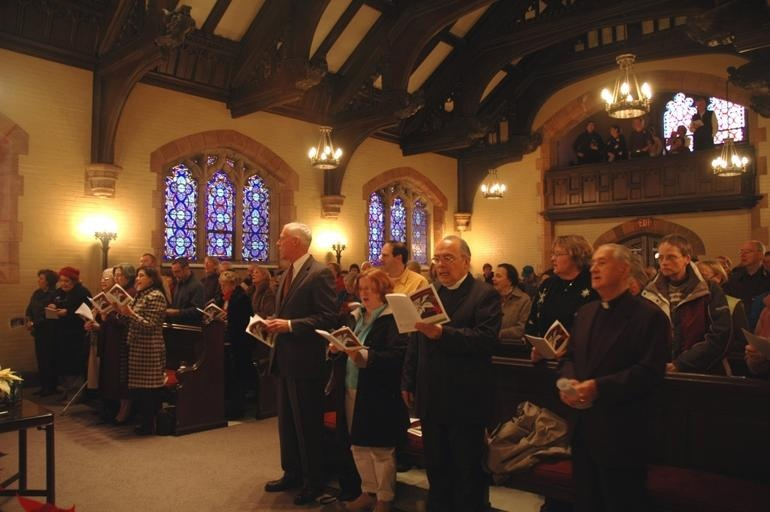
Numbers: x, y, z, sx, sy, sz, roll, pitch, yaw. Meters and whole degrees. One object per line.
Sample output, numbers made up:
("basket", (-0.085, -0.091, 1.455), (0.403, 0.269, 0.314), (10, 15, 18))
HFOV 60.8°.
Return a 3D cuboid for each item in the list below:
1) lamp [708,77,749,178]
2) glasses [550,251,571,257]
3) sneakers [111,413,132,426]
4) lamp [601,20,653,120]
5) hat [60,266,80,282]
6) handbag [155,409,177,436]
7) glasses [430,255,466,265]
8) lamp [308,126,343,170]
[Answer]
("lamp", (6.607, -2.467, 12.663), (0.709, 1.660, 0.705), (-3, 14, 32))
("glasses", (1.767, -0.019, 6.565), (0.178, 0.058, 0.050), (-2, -2, 39))
("sneakers", (-3.464, 2.174, 8.633), (0.093, 0.099, 0.259), (-4, -20, 11))
("lamp", (3.796, -2.774, 10.327), (0.667, 0.942, 1.026), (-1, -2, 19))
("hat", (-4.854, 0.288, 10.110), (0.228, 0.155, 0.259), (8, -6, 44))
("handbag", (-2.737, 2.098, 8.196), (0.230, 0.412, 0.283), (-4, -8, 18))
("glasses", (0.588, 0.031, 6.107), (0.315, 0.084, 0.166), (-2, -2, 25))
("lamp", (-1.138, -2.034, 12.194), (0.378, 0.743, 0.533), (1, -2, -43))
